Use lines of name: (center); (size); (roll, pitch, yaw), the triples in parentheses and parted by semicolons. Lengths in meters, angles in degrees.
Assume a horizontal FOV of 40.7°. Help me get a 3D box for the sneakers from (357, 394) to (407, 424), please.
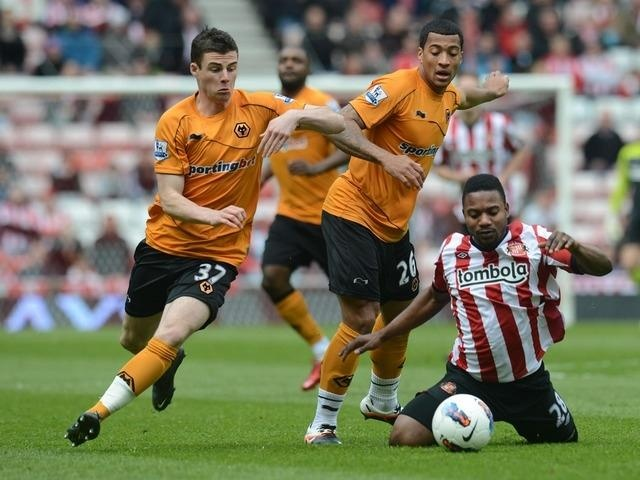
sneakers: (0.447, 1.319, 6.418); (0.398, 0.215, 0.146); (11, 45, -1)

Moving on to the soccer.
soccer: (0.896, 1.168, 5.444); (0.355, 0.362, 0.332); (3, -32, 8)

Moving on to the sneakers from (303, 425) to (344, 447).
sneakers: (0.019, 1.357, 5.918); (0.233, 0.100, 0.214); (4, 10, -3)

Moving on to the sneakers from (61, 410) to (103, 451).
sneakers: (-1.502, 1.236, 5.555); (0.240, 0.186, 0.100); (-37, -4, -1)
